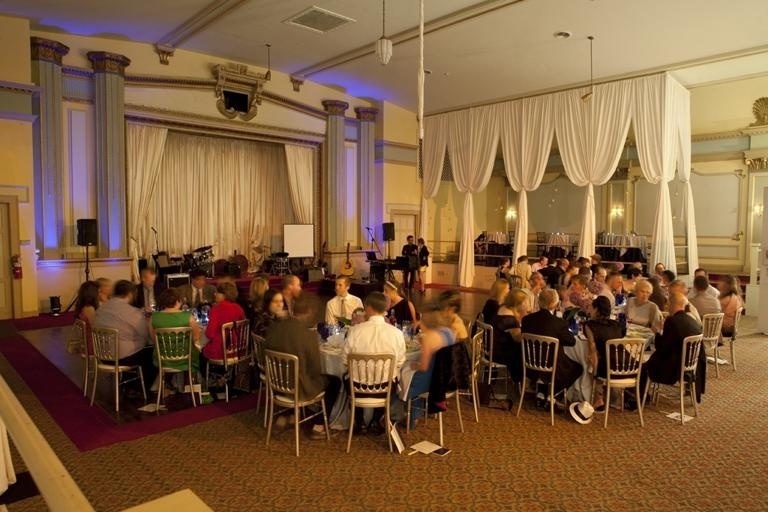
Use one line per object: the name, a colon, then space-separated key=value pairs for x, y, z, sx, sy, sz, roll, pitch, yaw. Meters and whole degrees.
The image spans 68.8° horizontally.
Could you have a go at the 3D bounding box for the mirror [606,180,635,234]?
mirror: x=8.158 y=-1.619 z=19.689 sx=0.833 sy=2.274 sz=0.233 roll=5 pitch=21 yaw=31

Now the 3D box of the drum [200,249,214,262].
drum: x=-4.956 y=-0.001 z=15.831 sx=0.313 sy=0.340 sz=0.238 roll=2 pitch=-2 yaw=-1

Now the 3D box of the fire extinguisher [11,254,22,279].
fire extinguisher: x=-7.759 y=0.240 z=11.921 sx=0.185 sy=0.512 sz=0.160 roll=-4 pitch=5 yaw=-38

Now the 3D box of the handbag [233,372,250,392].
handbag: x=-2.181 y=1.935 z=8.833 sx=0.244 sy=0.332 sz=0.338 roll=-1 pitch=-2 yaw=15

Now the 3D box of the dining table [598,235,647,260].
dining table: x=6.738 y=-0.214 z=15.796 sx=0.961 sy=0.595 sz=1.072 roll=3 pitch=-2 yaw=-19

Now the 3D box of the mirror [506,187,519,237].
mirror: x=5.598 y=-2.220 z=24.108 sx=0.331 sy=0.910 sz=4.214 roll=-10 pitch=-3 yaw=14

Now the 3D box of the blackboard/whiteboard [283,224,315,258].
blackboard/whiteboard: x=-2.519 y=-0.432 z=16.493 sx=0.942 sy=1.026 sz=0.126 roll=2 pitch=-4 yaw=-36

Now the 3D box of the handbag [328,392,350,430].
handbag: x=-0.593 y=2.144 z=7.796 sx=0.327 sy=0.577 sz=0.233 roll=-3 pitch=21 yaw=-6
